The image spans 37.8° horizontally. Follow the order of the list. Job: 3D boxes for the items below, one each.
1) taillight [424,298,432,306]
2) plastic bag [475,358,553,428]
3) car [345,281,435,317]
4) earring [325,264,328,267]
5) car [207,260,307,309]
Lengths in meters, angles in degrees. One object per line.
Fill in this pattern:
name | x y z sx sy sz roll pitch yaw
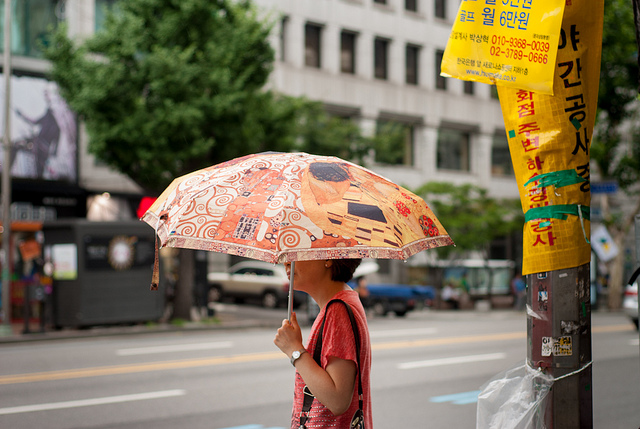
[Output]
taillight | 3.547 2.851 30.596 0.214 0.271 0.250 16 15 41
plastic bag | 2.236 2.118 10.960 0.714 0.837 0.531 -2 6 2
car | 2.312 2.725 30.855 3.060 0.958 1.921 0 -1 2
earring | 0.067 0.547 10.149 0.025 0.025 0.007 1 11 -6
car | -2.339 2.318 33.044 3.636 1.521 1.621 4 9 26
